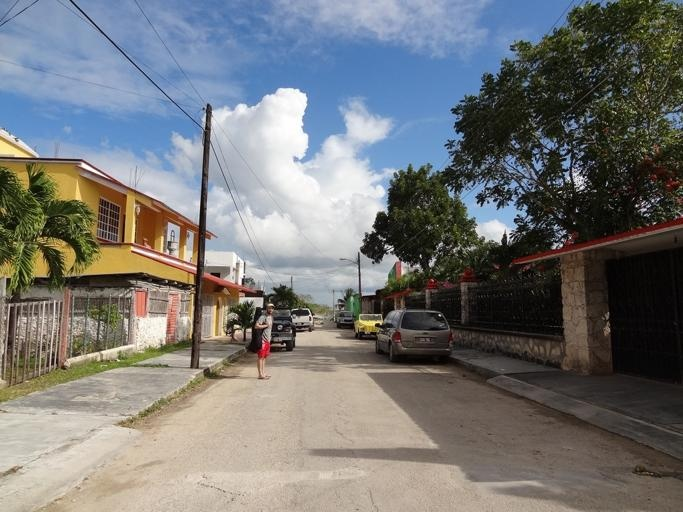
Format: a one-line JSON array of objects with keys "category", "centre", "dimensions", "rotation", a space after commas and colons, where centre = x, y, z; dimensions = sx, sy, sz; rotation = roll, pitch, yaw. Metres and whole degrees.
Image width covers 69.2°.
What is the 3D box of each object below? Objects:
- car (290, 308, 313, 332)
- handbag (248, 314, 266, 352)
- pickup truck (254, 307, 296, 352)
[{"category": "car", "centre": [-3.393, 5.545, 43.572], "dimensions": [1.384, 1.424, 3.030], "rotation": [0, -11, -1]}, {"category": "handbag", "centre": [-2.521, 2.263, 14.603], "dimensions": [0.401, 1.108, 0.921], "rotation": [0, -1, -11]}, {"category": "pickup truck", "centre": [-2.995, 3.344, 23.881], "dimensions": [1.810, 1.564, 3.071], "rotation": [1, 2, -1]}]
